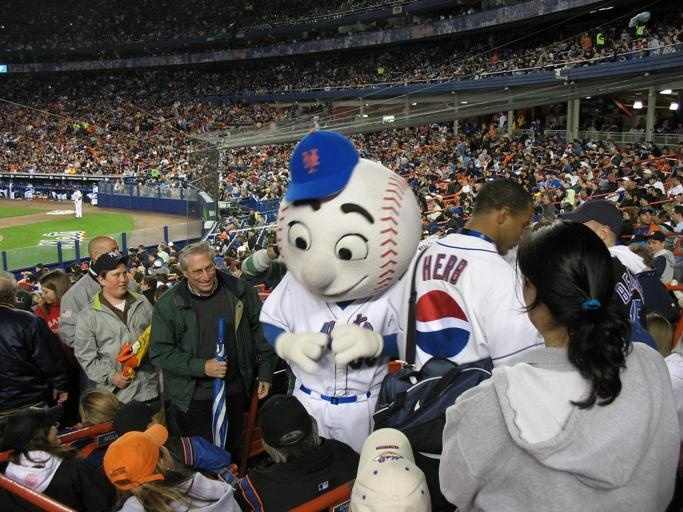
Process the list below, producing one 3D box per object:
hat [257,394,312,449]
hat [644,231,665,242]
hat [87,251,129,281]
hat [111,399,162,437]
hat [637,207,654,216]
[{"bbox_3d":[-0.292,0.877,3.400,0.274,0.245,0.183,0,5,18],"label":"hat"},{"bbox_3d":[3.811,-0.242,7.731,0.268,0.142,0.163,8,-6,-27],"label":"hat"},{"bbox_3d":[-1.839,0.051,5.019,0.272,0.112,0.200,-25,-2,28],"label":"hat"},{"bbox_3d":[-1.223,0.952,3.870,0.213,0.079,0.292,0,15,4],"label":"hat"},{"bbox_3d":[4.441,-0.650,9.270,0.229,0.124,0.368,1,3,10],"label":"hat"}]
